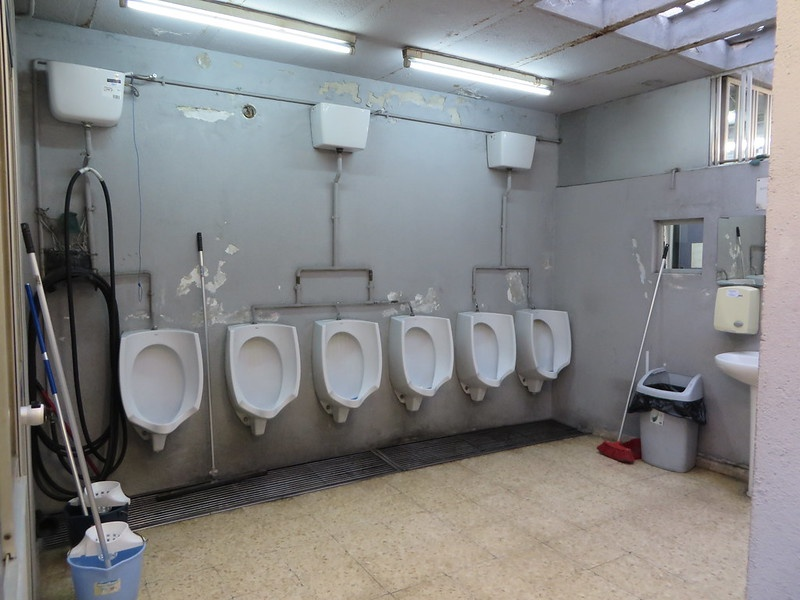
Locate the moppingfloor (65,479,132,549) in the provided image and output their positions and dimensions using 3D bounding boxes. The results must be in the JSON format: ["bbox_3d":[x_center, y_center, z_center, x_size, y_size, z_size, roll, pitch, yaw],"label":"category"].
[{"bbox_3d":[-1.645,1.118,3.360,0.385,0.381,0.384,6,7,-24],"label":"moppingfloor"}]

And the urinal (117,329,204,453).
[{"bbox_3d":[-1.567,0.508,3.870,0.475,0.807,0.388,3,8,-28],"label":"urinal"}]

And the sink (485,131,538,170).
[{"bbox_3d":[0.957,-1.412,5.112,0.512,0.360,0.285,-1,3,-31],"label":"sink"}]

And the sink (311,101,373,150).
[{"bbox_3d":[-0.443,-1.229,4.316,0.414,0.338,0.303,1,11,-33],"label":"sink"}]

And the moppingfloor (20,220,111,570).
[{"bbox_3d":[-1.664,0.455,2.939,0.299,2.285,0.548,4,8,-26],"label":"moppingfloor"}]
